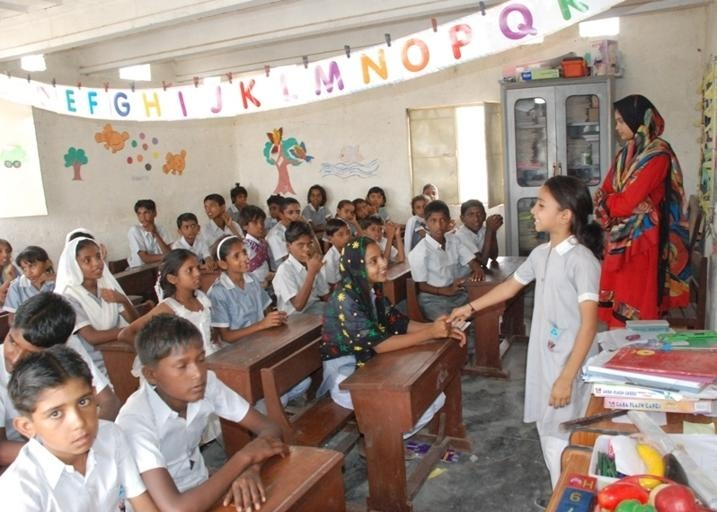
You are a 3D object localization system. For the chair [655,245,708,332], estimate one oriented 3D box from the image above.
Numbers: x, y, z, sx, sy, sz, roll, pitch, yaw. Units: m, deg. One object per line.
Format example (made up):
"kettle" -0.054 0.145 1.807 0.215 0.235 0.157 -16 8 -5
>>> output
"chair" 1.965 0.209 3.130 0.200 0.345 0.524 0 7 17

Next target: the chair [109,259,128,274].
"chair" -2.532 0.117 5.396 0.102 0.142 0.122 -16 -10 -42

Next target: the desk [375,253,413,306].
"desk" 0.281 0.223 4.146 0.255 0.223 0.468 2 13 20

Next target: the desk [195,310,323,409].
"desk" -0.549 0.500 2.683 0.308 0.177 0.750 2 12 20

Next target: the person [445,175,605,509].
"person" 0.760 0.418 2.251 0.602 1.491 0.756 -1 14 16

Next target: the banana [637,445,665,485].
"banana" 0.731 0.507 1.285 0.059 0.039 0.077 2 15 26

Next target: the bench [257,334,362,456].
"bench" -0.234 0.664 2.490 0.426 0.445 0.704 1 6 21

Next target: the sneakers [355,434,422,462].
"sneakers" 0.208 1.079 2.856 0.239 0.146 0.239 0 2 14

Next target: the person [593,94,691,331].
"person" 1.681 -0.240 3.050 0.525 1.394 0.416 4 17 32
